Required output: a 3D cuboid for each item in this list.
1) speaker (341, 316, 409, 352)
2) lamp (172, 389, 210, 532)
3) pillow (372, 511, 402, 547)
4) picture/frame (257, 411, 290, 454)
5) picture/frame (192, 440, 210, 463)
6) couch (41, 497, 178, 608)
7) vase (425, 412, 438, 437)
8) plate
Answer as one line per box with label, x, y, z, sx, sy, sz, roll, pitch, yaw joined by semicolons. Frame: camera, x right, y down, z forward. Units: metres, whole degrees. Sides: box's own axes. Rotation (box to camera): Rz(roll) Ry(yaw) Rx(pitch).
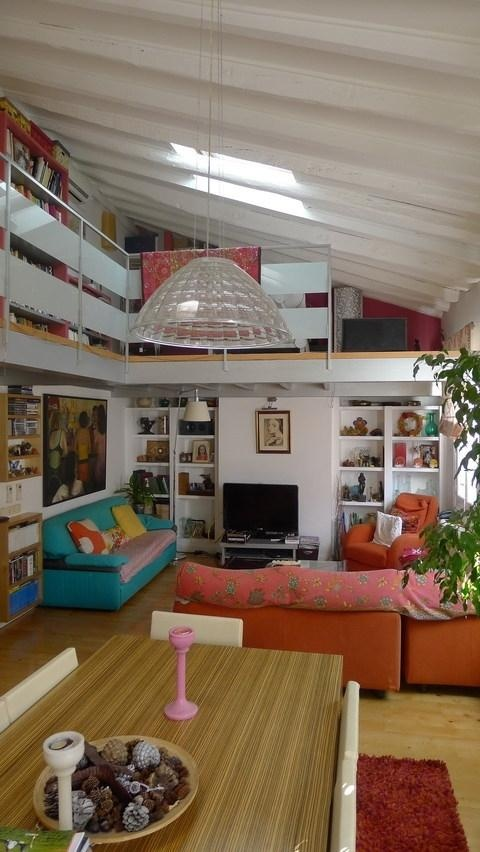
speaker;1.108;-0.754;5.026;0.518;0.264;0.119;0;-3;-3
lamp;-0.529;0.650;7.674;0.446;1.584;0.369;1;10;8
pillow;1.498;1.066;6.152;0.081;0.246;0.234;21;-14;-26
picture/frame;0.411;0.087;7.207;0.440;0.643;0.049;0;-1;6
picture/frame;-0.495;0.342;7.719;0.242;0.368;0.034;0;-7;9
couch;-1.263;0.898;5.404;0.597;0.663;1.361;0;4;9
vase;2.247;-0.017;7.129;0.143;0.315;0.202;-1;-4;18
plate;-0.234;0.781;1.354;0.270;0.101;0.394;-1;-4;17
